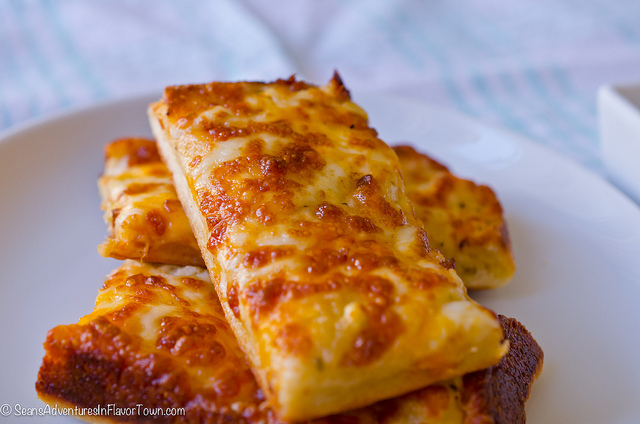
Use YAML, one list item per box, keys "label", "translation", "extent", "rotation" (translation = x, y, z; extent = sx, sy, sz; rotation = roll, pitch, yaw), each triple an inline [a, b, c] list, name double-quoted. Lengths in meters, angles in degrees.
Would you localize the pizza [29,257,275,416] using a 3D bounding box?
- label: "pizza"
  translation: [-0.440, 0.406, 2.060]
  extent: [0.693, 0.191, 0.543]
  rotation: [14, 44, 13]
